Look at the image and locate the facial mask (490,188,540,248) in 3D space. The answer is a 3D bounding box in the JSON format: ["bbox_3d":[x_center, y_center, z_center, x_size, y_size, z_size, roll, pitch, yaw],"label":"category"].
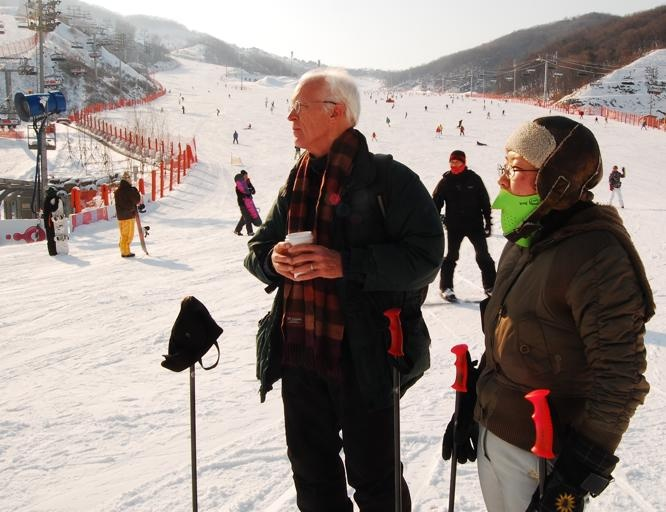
[{"bbox_3d":[0.952,-0.228,3.189,0.192,0.320,0.189,-10,20,-27],"label":"facial mask"}]

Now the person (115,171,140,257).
[{"bbox_3d":[-4.152,-0.818,12.550,0.534,1.789,0.555,-4,17,-14],"label":"person"}]

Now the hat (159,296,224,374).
[{"bbox_3d":[-0.852,0.497,3.685,0.352,0.538,0.265,-8,16,-21],"label":"hat"}]

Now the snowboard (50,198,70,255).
[{"bbox_3d":[-5.688,-0.587,12.947,0.301,1.198,0.669,-9,16,-23],"label":"snowboard"}]

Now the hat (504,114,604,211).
[{"bbox_3d":[1.075,-0.500,3.047,0.338,0.481,0.356,15,23,40],"label":"hat"}]
